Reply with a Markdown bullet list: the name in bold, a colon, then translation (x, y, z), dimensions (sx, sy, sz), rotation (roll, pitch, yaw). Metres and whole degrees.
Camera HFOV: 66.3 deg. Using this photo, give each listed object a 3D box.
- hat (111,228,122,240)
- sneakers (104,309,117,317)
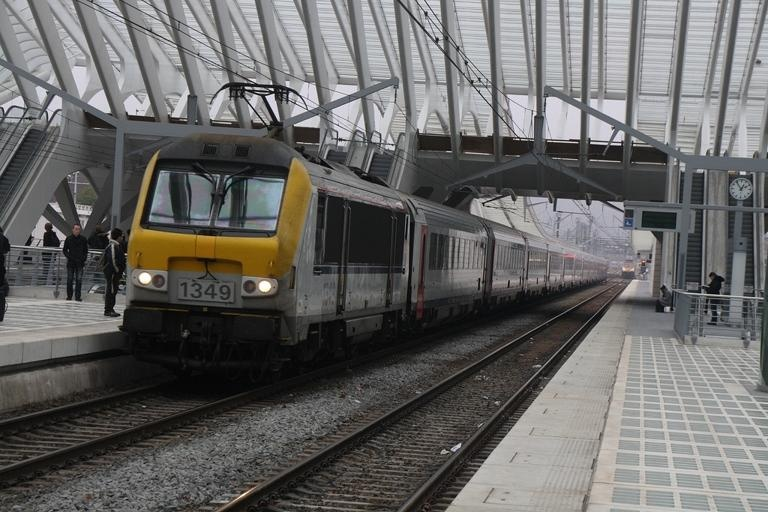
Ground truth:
- **hat**: translation (-6.979, -0.538, 15.189), dimensions (0.278, 0.285, 0.322), rotation (2, -15, 1)
- **sneakers**: translation (-6.628, 1.403, 14.305), dimensions (0.409, 0.159, 0.131), rotation (0, 2, 2)
